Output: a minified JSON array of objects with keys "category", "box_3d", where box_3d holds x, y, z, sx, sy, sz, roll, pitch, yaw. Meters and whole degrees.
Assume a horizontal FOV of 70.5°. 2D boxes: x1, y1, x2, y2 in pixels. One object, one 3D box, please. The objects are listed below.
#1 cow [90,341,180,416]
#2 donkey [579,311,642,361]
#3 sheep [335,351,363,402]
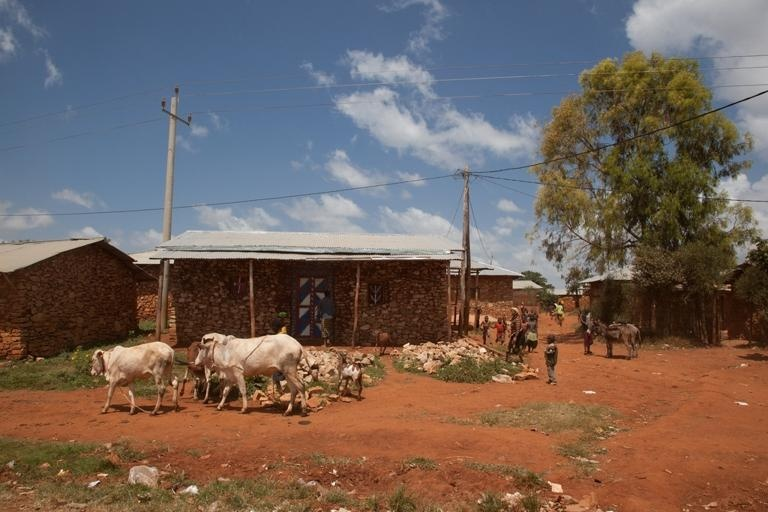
[{"category":"cow","box_3d":[-8.064,4.045,18.080,2.556,2.280,1.296,-2,-8,13]},{"category":"donkey","box_3d":[11.659,4.182,28.026,2.518,1.986,4.790,-3,-8,22]},{"category":"sheep","box_3d":[-1.308,4.383,19.939,0.905,1.616,1.570,1,-8,-7]}]
